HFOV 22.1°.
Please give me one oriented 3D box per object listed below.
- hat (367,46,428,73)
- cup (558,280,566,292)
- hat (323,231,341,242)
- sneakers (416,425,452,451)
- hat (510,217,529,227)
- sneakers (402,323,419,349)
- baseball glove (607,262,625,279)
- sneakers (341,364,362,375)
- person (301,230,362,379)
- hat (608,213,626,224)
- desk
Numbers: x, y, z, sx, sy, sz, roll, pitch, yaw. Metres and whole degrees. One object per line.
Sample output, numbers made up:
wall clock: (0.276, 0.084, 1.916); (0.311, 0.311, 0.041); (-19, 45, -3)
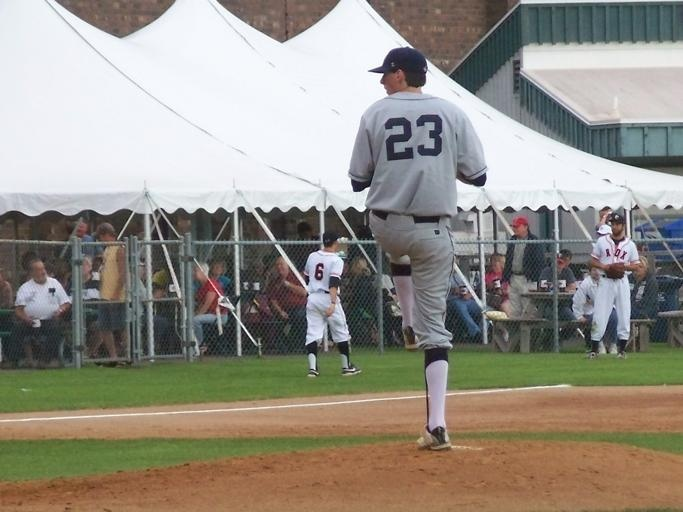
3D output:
hat: (0.909, -2.843, 25.496); (0.572, 0.319, 0.383); (2, 6, 8)
cup: (4.209, 0.615, 33.490); (0.168, 0.199, 0.179); (-1, -1, 0)
hat: (-0.225, -0.295, 30.401); (0.157, 0.250, 0.177); (9, 3, 40)
sneakers: (1.336, 2.664, 25.107); (0.228, 0.262, 0.535); (1, 0, -8)
hat: (3.517, -0.629, 34.106); (0.286, 0.179, 0.200); (0, 2, -36)
sneakers: (0.998, 1.238, 25.506); (0.134, 0.398, 0.145); (-8, 30, 7)
baseball glove: (4.943, 0.314, 31.589); (0.323, 0.295, 0.189); (-3, -4, 1)
sneakers: (0.161, 2.013, 30.435); (0.310, 0.171, 0.140); (-7, 6, -15)
person: (-0.129, 0.887, 30.608); (0.930, 2.580, 1.046); (0, 7, -4)
hat: (5.027, -0.643, 32.021); (0.279, 0.249, 0.626); (-3, -5, 7)
desk: (3.804, 1.293, 33.154); (1.043, 1.097, 1.120); (1, -3, 1)
